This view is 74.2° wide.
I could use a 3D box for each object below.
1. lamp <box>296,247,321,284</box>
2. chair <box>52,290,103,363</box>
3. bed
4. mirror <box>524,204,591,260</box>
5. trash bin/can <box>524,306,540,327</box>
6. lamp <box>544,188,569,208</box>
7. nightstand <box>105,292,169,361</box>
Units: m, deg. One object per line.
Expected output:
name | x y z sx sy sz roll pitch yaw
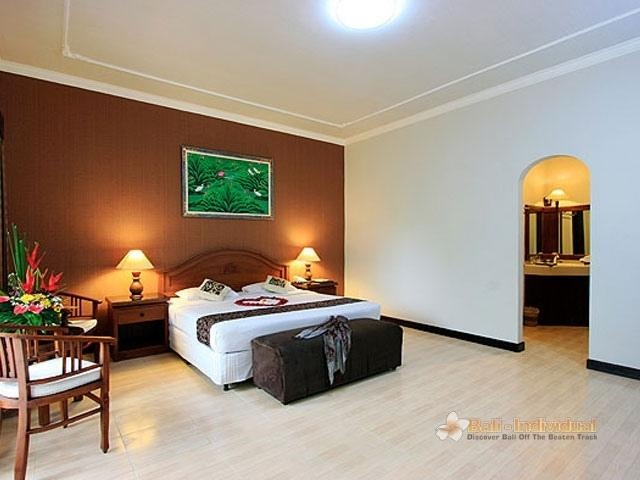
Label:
lamp | -0.190 0.432 7.182 0.361 0.530 0.395 -4 -10 24
chair | -2.832 0.993 4.798 0.486 0.753 0.591 2 -2 5
bed | -1.140 0.906 5.482 1.898 1.225 1.857 0 -1 -39
mirror | 4.144 -0.141 7.340 1.032 1.000 0.436 -3 -11 37
trash bin/can | 3.347 1.188 6.730 0.281 0.257 0.310 1 2 6
lamp | 4.212 -0.740 7.594 0.335 0.279 0.381 -3 10 -8
nightstand | -2.404 1.109 5.598 0.712 0.748 0.552 -2 5 -37
